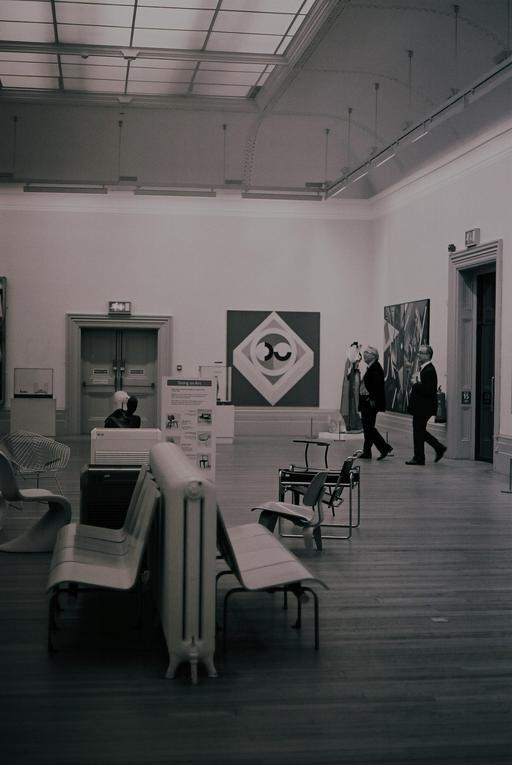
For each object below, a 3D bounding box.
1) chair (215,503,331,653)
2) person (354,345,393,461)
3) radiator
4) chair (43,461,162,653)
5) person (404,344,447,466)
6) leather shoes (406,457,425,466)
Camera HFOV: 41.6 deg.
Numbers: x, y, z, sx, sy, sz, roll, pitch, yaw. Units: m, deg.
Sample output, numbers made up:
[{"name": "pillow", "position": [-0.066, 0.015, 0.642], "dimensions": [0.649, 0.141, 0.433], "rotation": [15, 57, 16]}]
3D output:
[{"name": "chair", "position": [0.042, 0.955, 3.625], "dimensions": [0.477, 0.817, 1.214], "rotation": [1, 2, -1]}, {"name": "person", "position": [2.061, 0.369, 11.529], "dimensions": [0.553, 1.925, 1.105], "rotation": [1, 2, 11]}, {"name": "radiator", "position": [-0.335, 0.851, 3.174], "dimensions": [0.283, 0.916, 0.712], "rotation": [0, 2, -9]}, {"name": "chair", "position": [-0.819, 0.755, 3.577], "dimensions": [0.530, 0.543, 1.203], "rotation": [1, 3, -14]}, {"name": "person", "position": [2.770, 0.360, 11.011], "dimensions": [0.662, 1.933, 0.608], "rotation": [1, 2, -4]}, {"name": "leather shoes", "position": [2.601, 1.303, 10.862], "dimensions": [0.311, 0.180, 0.128], "rotation": [4, 1, 15]}]
